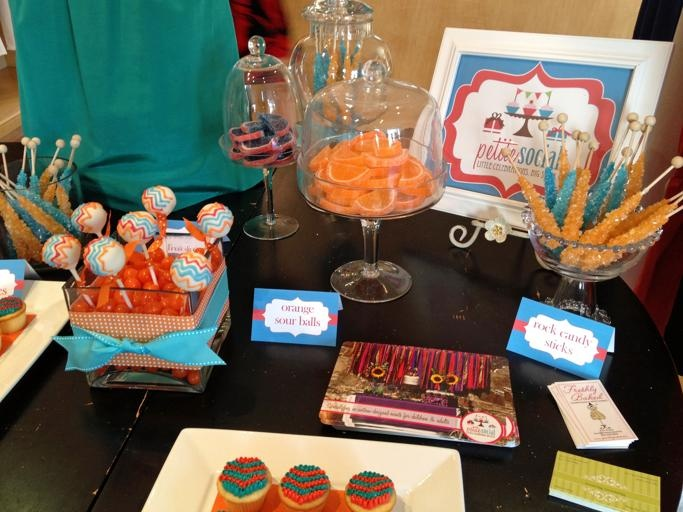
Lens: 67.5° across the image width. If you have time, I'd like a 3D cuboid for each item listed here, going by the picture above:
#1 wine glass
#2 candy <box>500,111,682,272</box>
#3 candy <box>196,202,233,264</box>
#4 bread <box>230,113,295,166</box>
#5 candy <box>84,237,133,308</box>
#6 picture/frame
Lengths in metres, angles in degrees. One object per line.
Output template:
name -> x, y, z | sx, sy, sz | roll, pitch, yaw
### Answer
wine glass -> 0.514, 0.004, 1.127 | 0.249, 0.232, 0.258 | 20, 26, 38
candy -> 0.513, -0.135, 1.190 | 0.369, 0.406, 0.334 | 14, 24, 21
candy -> -0.270, -0.044, 1.086 | 0.068, 0.156, 0.073 | 10, 33, -16
bread -> -0.210, -0.306, 1.393 | 0.140, 0.057, 0.155 | -9, 43, -13
candy -> -0.430, 0.034, 0.940 | 0.051, 0.128, 0.049 | -31, 49, -11
picture/frame -> 0.482, -0.295, 1.243 | 0.549, 0.524, 0.039 | 16, 12, 13
